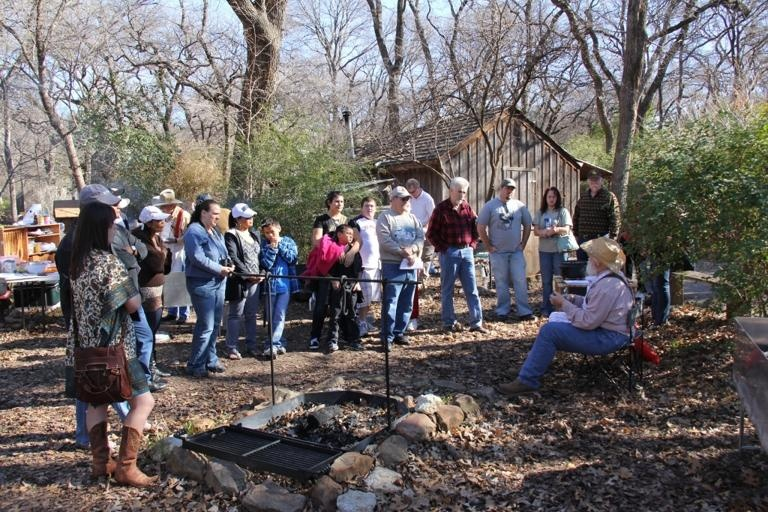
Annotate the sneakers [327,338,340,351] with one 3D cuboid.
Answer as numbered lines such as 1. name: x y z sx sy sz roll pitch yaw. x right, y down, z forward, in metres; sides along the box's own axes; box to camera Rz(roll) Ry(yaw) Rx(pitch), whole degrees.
1. sneakers: -0.787 1.368 10.848 0.160 0.215 0.488 -1 -5 -2

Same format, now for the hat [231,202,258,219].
1. hat: -2.060 -0.671 10.434 0.327 0.172 0.222 -1 10 2

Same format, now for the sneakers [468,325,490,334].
1. sneakers: 1.549 1.212 11.594 0.305 0.107 0.266 0 -4 4

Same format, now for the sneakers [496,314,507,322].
1. sneakers: 2.015 1.076 12.201 0.129 0.100 0.106 -2 -7 30

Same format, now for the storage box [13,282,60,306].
1. storage box: -6.388 0.685 12.971 0.507 0.332 0.523 0 0 2

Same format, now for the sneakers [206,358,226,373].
1. sneakers: -2.381 1.585 10.033 0.334 0.162 0.127 1 4 11

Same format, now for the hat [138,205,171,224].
1. hat: -3.261 -0.530 9.931 0.434 0.220 0.289 -7 9 -2

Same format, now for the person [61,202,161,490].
1. person: -2.969 0.973 7.708 0.904 3.085 0.457 1 -3 -21

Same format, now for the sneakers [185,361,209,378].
1. sneakers: -2.609 1.609 9.904 0.305 0.227 0.164 1 3 -7

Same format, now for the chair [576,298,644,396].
1. chair: 3.094 1.213 9.842 1.085 1.742 0.984 2 0 26

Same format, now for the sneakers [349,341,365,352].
1. sneakers: -0.412 1.411 10.969 0.112 0.104 0.232 3 -7 -39

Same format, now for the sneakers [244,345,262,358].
1. sneakers: -1.978 1.470 10.763 0.113 0.157 0.359 2 -4 -38

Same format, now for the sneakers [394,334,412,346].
1. sneakers: 0.295 1.332 11.104 0.285 0.131 0.108 0 2 12

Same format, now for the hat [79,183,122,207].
1. hat: -3.311 -0.707 8.220 0.484 0.250 0.315 3 3 -13

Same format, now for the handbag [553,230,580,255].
1. handbag: 3.142 -0.254 12.290 0.386 0.416 0.174 -7 -7 2

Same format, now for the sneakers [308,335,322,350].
1. sneakers: -1.082 1.364 11.088 0.174 0.237 0.541 0 -5 -1

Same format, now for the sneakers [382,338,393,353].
1. sneakers: 0.054 1.191 9.441 0.149 0.198 0.456 -1 -7 -5

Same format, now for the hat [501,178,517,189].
1. hat: 2.071 -1.225 11.914 0.218 0.194 0.390 0 -4 7

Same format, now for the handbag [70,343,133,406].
1. handbag: -2.989 1.246 7.528 0.634 0.674 0.356 -1 3 1

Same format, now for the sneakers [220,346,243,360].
1. sneakers: -2.291 1.477 10.722 0.267 0.185 0.449 1 -4 -13
